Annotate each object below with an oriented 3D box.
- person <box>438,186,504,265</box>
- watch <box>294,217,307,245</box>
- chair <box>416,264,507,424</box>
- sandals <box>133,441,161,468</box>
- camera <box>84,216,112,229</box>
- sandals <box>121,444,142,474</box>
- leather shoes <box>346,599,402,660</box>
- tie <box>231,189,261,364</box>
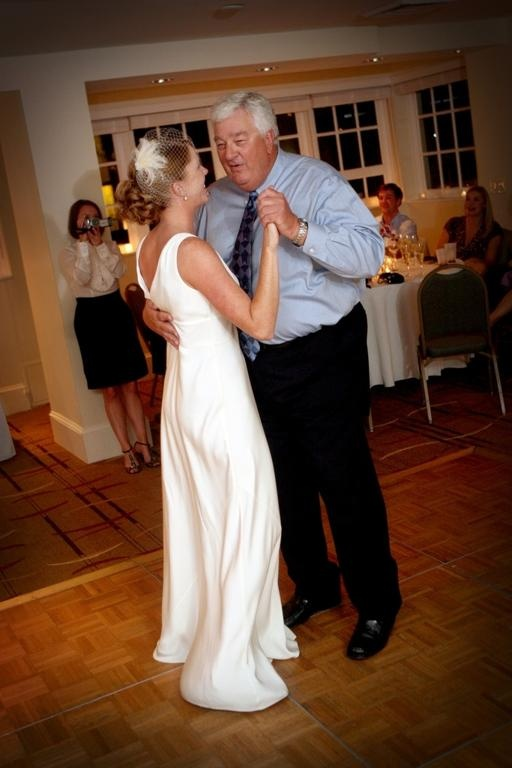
[{"bbox_3d":[2.012,-1.429,5.307,0.436,0.782,0.728,-12,7,-15],"label":"person"},{"bbox_3d":[0.099,-0.338,1.222,0.016,0.045,0.039,8,2,-2],"label":"watch"},{"bbox_3d":[1.433,-0.304,3.970,0.552,1.069,0.388,-8,7,15],"label":"chair"},{"bbox_3d":[-0.785,0.519,4.077,0.107,0.112,0.289,-4,7,-32],"label":"sandals"},{"bbox_3d":[-1.044,-1.104,3.784,0.177,0.061,0.171,-5,8,33],"label":"camera"},{"bbox_3d":[-0.865,0.553,3.954,0.083,0.102,0.262,-4,10,-16],"label":"sandals"},{"bbox_3d":[0.368,0.745,1.728,0.071,0.073,0.201,-10,20,39],"label":"leather shoes"},{"bbox_3d":[-0.013,-0.288,1.546,0.080,0.470,0.069,0,12,12],"label":"tie"}]
